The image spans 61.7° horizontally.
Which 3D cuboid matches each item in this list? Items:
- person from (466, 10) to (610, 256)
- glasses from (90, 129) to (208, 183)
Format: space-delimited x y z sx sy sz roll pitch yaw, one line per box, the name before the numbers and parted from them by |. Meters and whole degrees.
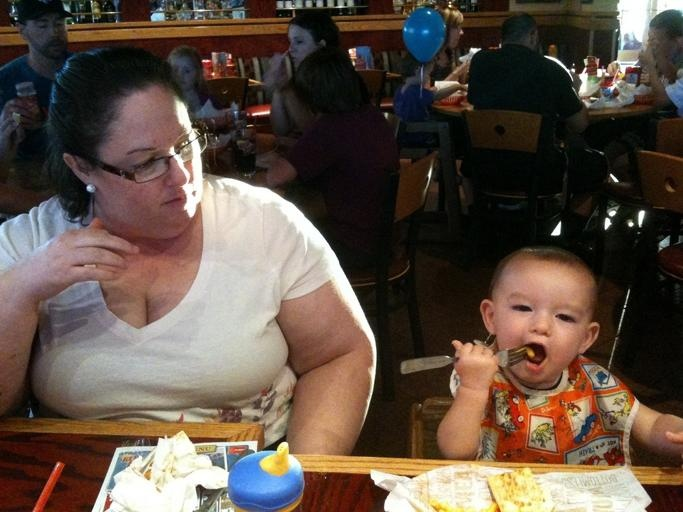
person | 1.360 -0.840 4.149 0.943 1.673 1.052 9 14 36
glasses | -0.433 -0.221 1.302 0.216 0.094 0.091 -13 23 -23
